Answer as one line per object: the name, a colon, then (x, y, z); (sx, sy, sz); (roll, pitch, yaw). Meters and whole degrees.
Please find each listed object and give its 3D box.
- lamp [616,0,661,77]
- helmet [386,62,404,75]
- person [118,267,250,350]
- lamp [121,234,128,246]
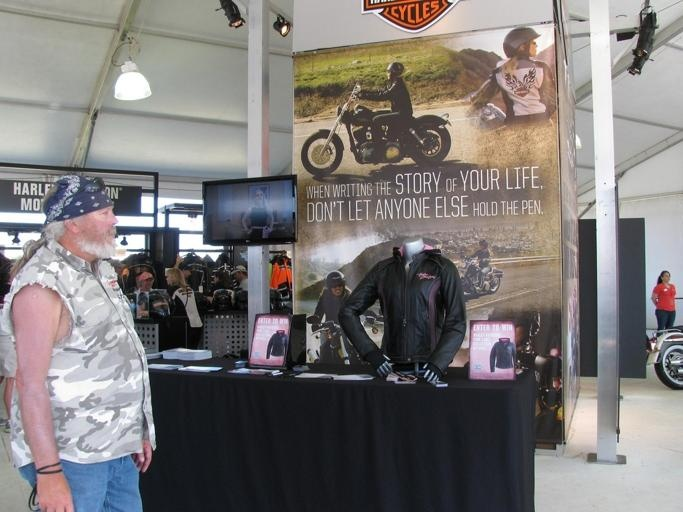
lamp: (4.060, -3.019, 7.670); (0.340, 1.105, 0.418); (5, -3, 10)
helmet: (0.472, -1.609, 4.836); (0.120, 0.093, 0.108); (-14, -34, 28)
person: (-1.435, 0.494, 5.032); (1.052, 0.743, 1.040); (1, 2, 26)
lamp: (-3.775, -0.275, 9.700); (0.149, 0.172, 0.148); (17, -7, -28)
